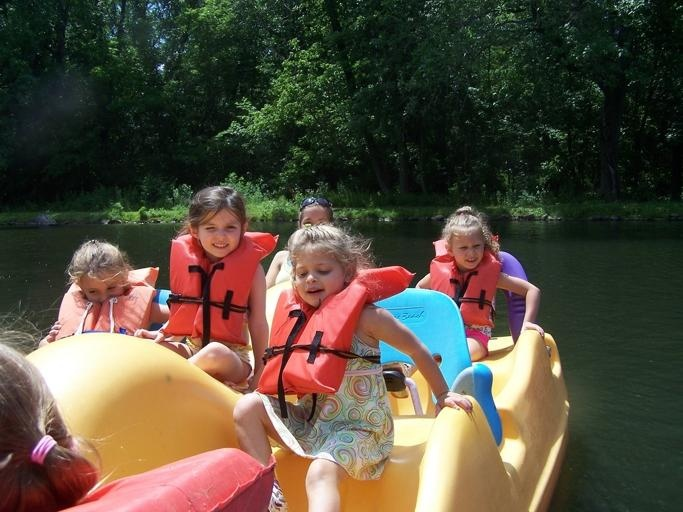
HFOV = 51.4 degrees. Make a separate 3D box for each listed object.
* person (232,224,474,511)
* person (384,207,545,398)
[{"bbox_3d":[0.159,0.498,2.794,0.749,1.094,0.969,-5,-18,17],"label":"person"},{"bbox_3d":[0.799,0.307,4.402,1.016,1.178,0.830,0,-11,11],"label":"person"}]
